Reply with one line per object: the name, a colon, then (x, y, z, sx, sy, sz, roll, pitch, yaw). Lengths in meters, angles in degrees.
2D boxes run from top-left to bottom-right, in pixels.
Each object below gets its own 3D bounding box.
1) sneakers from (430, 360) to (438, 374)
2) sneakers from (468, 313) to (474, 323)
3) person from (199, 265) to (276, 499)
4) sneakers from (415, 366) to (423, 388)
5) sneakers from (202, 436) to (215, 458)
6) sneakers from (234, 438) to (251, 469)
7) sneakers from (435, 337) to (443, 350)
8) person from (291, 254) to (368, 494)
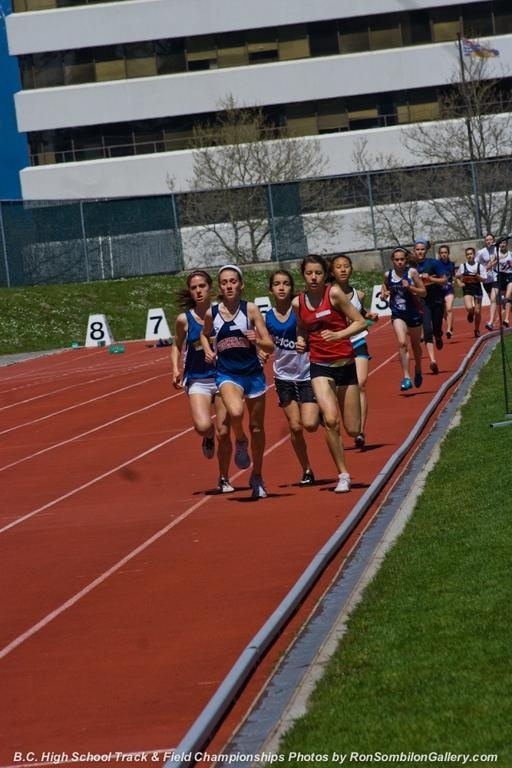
sneakers: (3.109, -0.258, 12.760, 0.123, 0.361, 0.151, -1, 52, 14)
sneakers: (5.314, -1.661, 18.088, 0.132, 0.374, 0.149, -1, -1, 4)
person: (-0.130, 0.035, 6.875, 0.610, 2.295, 0.959, -9, 10, -7)
sneakers: (2.615, -0.115, 11.806, 0.128, 0.146, 0.382, 0, 30, 9)
sneakers: (-0.497, 0.683, 7.763, 0.108, 0.305, 0.123, -7, 29, -13)
sneakers: (-0.126, 0.699, 7.061, 0.127, 0.311, 0.126, -6, 8, -8)
sneakers: (3.430, -0.672, 13.638, 0.137, 0.390, 0.157, -3, 20, 9)
person: (0.717, -0.061, 6.449, 0.603, 2.182, 0.699, -9, 10, -5)
